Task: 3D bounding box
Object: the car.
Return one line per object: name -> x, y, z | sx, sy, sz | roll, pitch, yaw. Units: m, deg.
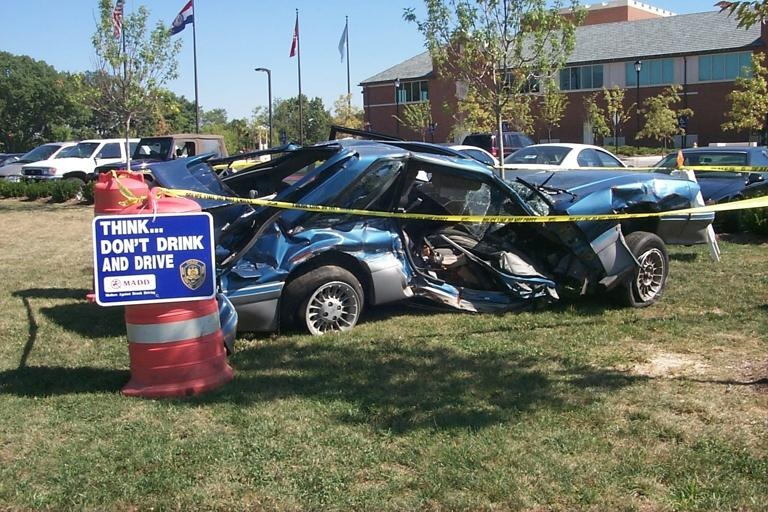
car -> 0.663, -0.397, 9.157 | 7.034, 2.303, 2.398 | -5, 14, -18
